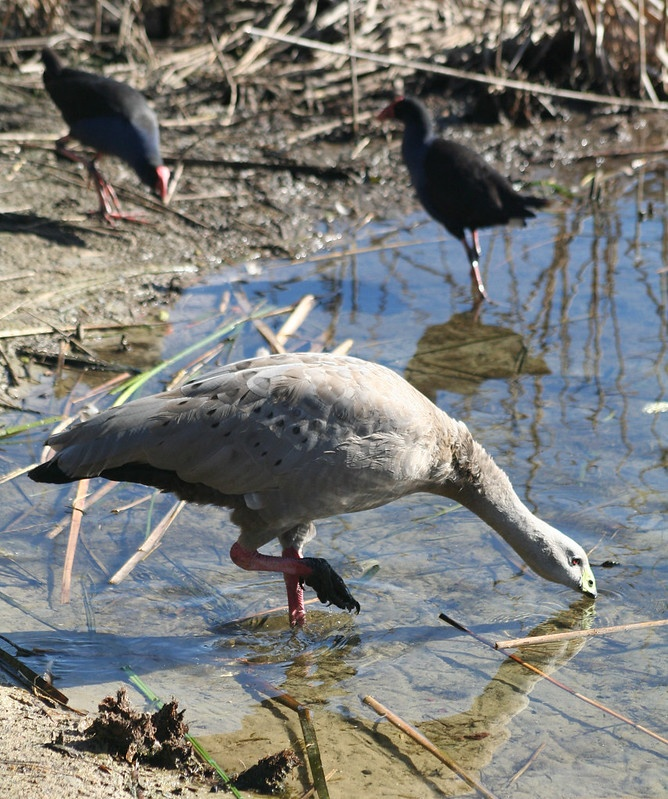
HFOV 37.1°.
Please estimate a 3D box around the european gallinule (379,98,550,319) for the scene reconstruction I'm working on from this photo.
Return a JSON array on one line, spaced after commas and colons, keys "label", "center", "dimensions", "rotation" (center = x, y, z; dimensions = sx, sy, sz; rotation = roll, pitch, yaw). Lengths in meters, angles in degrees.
[{"label": "european gallinule", "center": [0.931, -1.470, 7.224], "dimensions": [0.525, 1.404, 1.190], "rotation": [-11, 19, -25]}]
